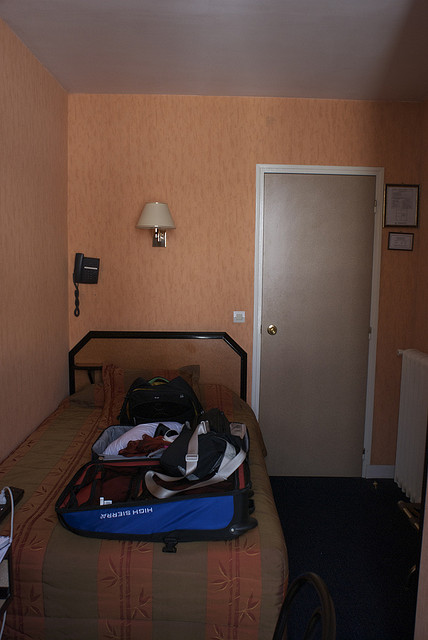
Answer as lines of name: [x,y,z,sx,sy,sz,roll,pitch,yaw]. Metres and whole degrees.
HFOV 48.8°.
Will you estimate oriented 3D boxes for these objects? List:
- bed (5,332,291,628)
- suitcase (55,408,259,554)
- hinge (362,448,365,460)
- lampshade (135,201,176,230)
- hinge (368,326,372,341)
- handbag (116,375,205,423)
bed: [-0.207,0.589,2.087,0.753,0.565,1.439,0,8,2]
suitcase: [-0.186,0.634,1.816,0.657,0.317,0.880,-3,-7,-15]
hinge: [0.968,0.872,3.057,0.004,0.079,0.018,-2,6,-27]
lampshade: [-0.345,-0.595,2.741,0.168,0.108,0.159,3,7,-1]
hinge: [0.981,0.087,2.970,0.019,0.080,0.005,4,6,34]
handbag: [-0.261,0.452,2.680,0.508,0.267,0.648,-2,-1,-4]
